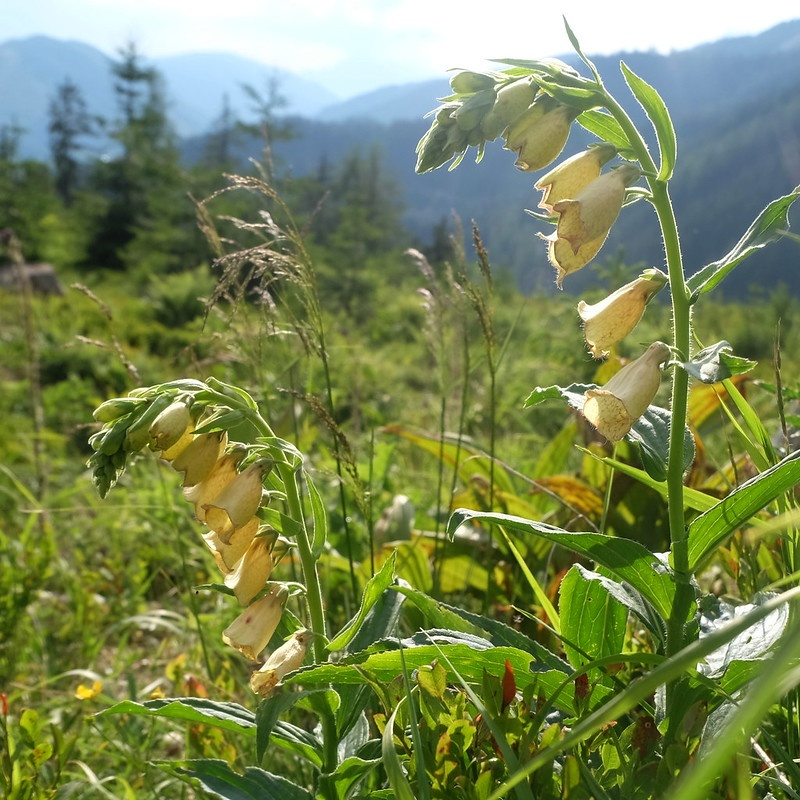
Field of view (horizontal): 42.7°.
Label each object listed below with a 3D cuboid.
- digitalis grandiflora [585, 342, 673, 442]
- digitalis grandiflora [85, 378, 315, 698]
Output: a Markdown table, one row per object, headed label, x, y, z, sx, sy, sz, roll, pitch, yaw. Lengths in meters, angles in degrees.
| label | x | y | z | sx | sy | sz | roll | pitch | yaw |
| --- | --- | --- | --- | --- | --- | --- | --- | --- | --- |
| digitalis grandiflora | 0.430 | -0.017 | 1.953 | 0.173 | 0.164 | 0.093 | -5 | 16 | 12 |
| digitalis grandiflora | -0.354 | 0.291 | 2.045 | 0.422 | 0.684 | 0.365 | -14 | 17 | -18 |
